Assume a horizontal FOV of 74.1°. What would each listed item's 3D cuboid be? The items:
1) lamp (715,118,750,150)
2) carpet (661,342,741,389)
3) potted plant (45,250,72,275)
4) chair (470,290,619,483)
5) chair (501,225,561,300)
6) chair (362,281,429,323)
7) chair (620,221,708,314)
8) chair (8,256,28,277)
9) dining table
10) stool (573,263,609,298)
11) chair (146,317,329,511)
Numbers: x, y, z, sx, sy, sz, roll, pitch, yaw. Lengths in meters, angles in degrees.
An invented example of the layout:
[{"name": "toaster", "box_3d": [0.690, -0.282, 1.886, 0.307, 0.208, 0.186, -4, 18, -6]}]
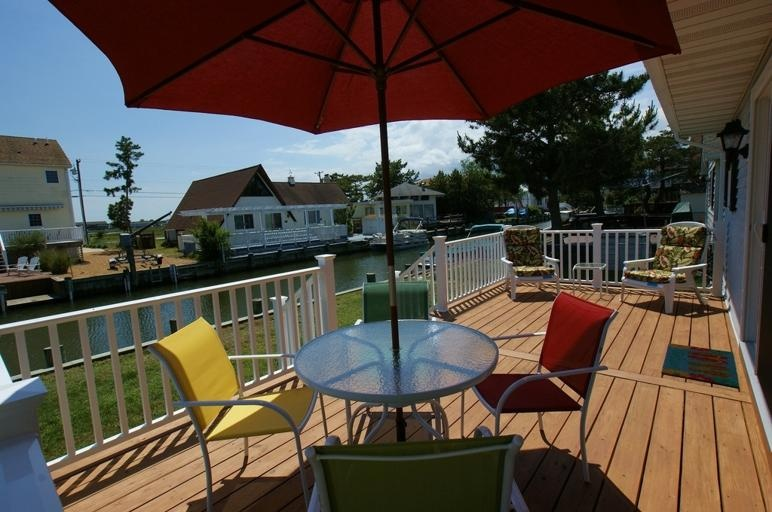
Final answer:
[{"name": "lamp", "box_3d": [4.641, -1.638, 6.867, 0.306, 0.423, 0.409, 1, 7, 34]}, {"name": "carpet", "box_3d": [3.617, 1.253, 5.930, 0.731, 0.208, 0.908, 0, 6, 30]}, {"name": "potted plant", "box_3d": [-13.012, 0.276, 20.346, 0.720, 0.851, 0.751, -16, -15, 35]}, {"name": "chair", "box_3d": [1.501, 1.137, 5.263, 1.434, 2.225, 1.364, -1, 6, -5]}, {"name": "chair", "box_3d": [2.480, 0.048, 8.933, 0.938, 1.245, 1.009, -3, -1, -20]}, {"name": "chair", "box_3d": [0.108, 0.486, 5.541, 0.731, 0.439, 0.323, -5, 6, -11]}, {"name": "chair", "box_3d": [4.572, 0.150, 8.090, 1.513, 1.738, 1.151, -9, 10, -32]}, {"name": "chair", "box_3d": [-14.498, 0.413, 20.264, 0.611, 0.934, 0.650, 2, 6, 1]}, {"name": "dining table", "box_3d": [0.102, 0.856, 4.222, 1.208, 0.863, 1.307, -5, 22, -7]}, {"name": "stool", "box_3d": [3.621, 0.445, 9.053, 0.439, 0.371, 0.452, -8, 9, -16]}, {"name": "chair", "box_3d": [-1.324, 1.273, 5.073, 1.447, 2.072, 1.338, -4, 7, 3]}]
